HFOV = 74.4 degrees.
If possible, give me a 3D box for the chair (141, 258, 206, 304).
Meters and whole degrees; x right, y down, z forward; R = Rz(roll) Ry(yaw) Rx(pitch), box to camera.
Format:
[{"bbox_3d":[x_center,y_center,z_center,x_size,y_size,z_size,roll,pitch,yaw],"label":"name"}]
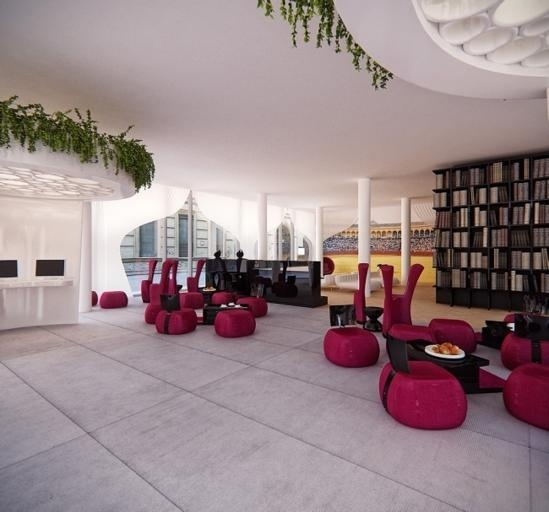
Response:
[{"bbox_3d":[-2.915,0.644,9.845,1.319,1.147,1.378,2,-5,-3],"label":"chair"}]
